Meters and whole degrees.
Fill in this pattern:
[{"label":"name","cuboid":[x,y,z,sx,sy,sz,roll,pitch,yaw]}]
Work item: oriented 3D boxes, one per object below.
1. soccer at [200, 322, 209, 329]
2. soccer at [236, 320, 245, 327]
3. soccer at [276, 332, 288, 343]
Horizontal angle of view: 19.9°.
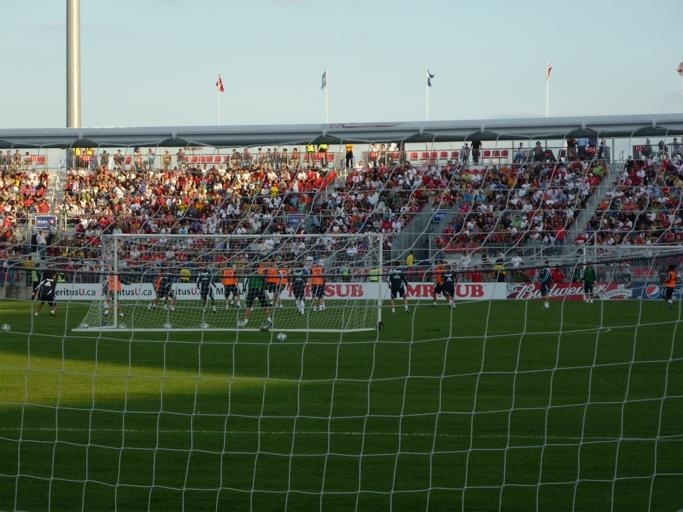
[{"label":"soccer","cuboid":[-3.935,1.954,56.172,0.327,0.145,0.451,0,-2,-4]},{"label":"soccer","cuboid":[-2.973,1.936,58.378,0.269,0.149,0.354,0,5,-8]},{"label":"soccer","cuboid":[-1.663,2.270,55.125,0.204,0.208,0.265,18,0,-20]}]
